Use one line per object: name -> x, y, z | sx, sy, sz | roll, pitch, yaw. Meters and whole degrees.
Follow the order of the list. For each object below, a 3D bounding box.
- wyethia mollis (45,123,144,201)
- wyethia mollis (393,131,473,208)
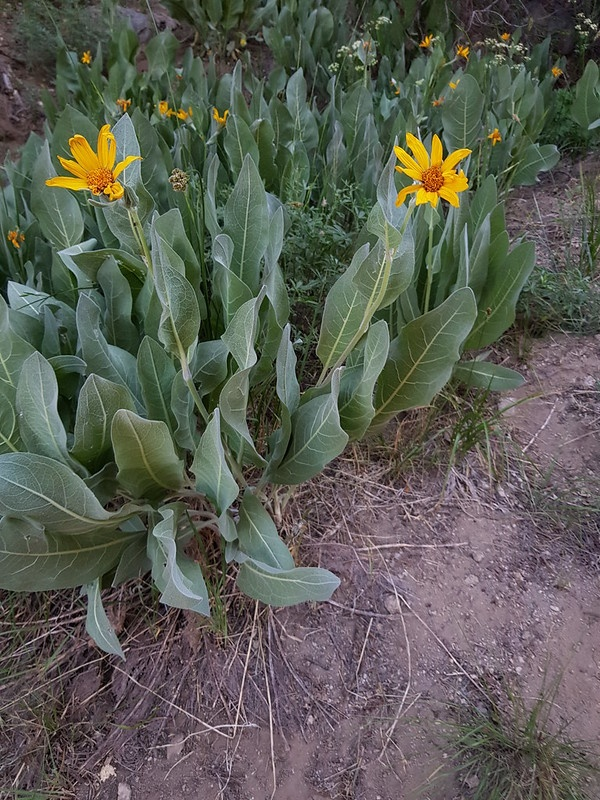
wyethia mollis -> -0.332, -0.373, 0.898 | 0.126, 0.123, 0.240 | -9, 32, -13
wyethia mollis -> 0.232, -0.411, 0.976 | 0.138, 0.063, 0.138 | 3, -7, 30
